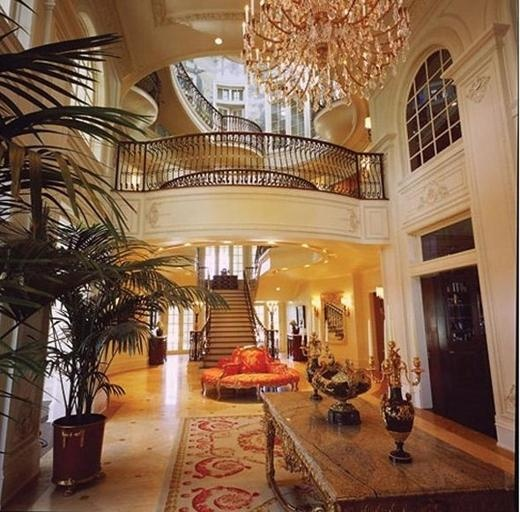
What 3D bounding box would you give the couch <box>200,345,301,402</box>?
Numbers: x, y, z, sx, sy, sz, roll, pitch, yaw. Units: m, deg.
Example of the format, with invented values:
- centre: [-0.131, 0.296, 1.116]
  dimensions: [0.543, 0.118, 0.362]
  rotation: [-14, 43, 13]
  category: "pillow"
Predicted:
- centre: [-0.303, 2.348, 8.185]
  dimensions: [1.532, 0.749, 1.525]
  rotation: [1, -21, -3]
  category: "couch"
